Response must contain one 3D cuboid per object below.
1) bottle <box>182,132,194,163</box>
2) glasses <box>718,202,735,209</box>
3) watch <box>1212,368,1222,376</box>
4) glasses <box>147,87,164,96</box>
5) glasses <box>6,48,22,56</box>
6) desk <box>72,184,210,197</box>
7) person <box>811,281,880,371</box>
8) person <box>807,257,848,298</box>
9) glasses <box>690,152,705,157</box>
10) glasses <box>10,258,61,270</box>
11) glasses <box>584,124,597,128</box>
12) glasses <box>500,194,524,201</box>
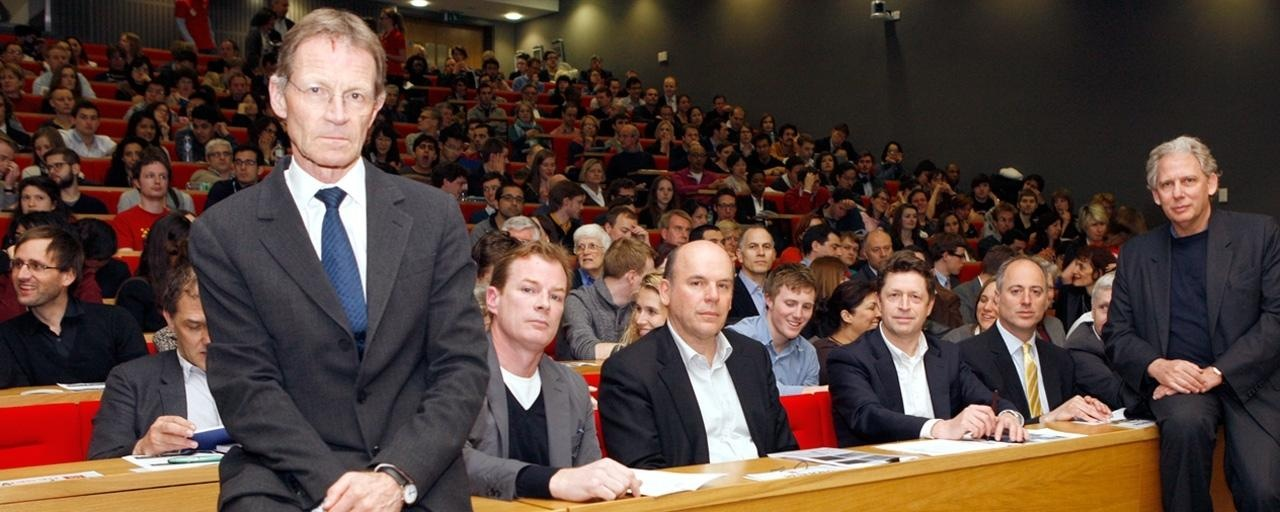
[{"bbox_3d":[-7.892,-1.921,13.680,0.225,0.536,0.197,-5,-4,37],"label":"bottle"},{"bbox_3d":[1.478,-0.884,13.778,0.287,0.074,0.083,0,-4,-17],"label":"glasses"},{"bbox_3d":[6.036,1.227,8.240,0.095,0.069,0.022,-13,4,-5],"label":"watch"},{"bbox_3d":[-9.355,-3.189,15.111,0.231,0.095,0.245,1,-1,0],"label":"glasses"},{"bbox_3d":[-12.514,-4.089,15.584,0.230,0.056,0.228,7,-24,-41],"label":"glasses"},{"bbox_3d":[-7.596,-0.987,11.800,1.732,0.163,0.336,2,-9,-9],"label":"desk"},{"bbox_3d":[2.404,0.839,9.179,0.817,0.842,1.231,-1,1,7],"label":"person"},{"bbox_3d":[2.438,0.290,10.839,0.726,0.642,0.577,-3,0,9],"label":"person"},{"bbox_3d":[1.125,-2.036,15.669,0.254,0.081,0.099,0,-4,-24],"label":"glasses"},{"bbox_3d":[-6.655,0.102,8.585,0.544,0.153,0.089,-2,-3,7],"label":"glasses"},{"bbox_3d":[-1.103,-2.744,16.601,0.144,0.094,0.079,-14,-29,-34],"label":"glasses"},{"bbox_3d":[-1.974,-0.895,11.905,0.291,0.094,0.100,0,-4,-24],"label":"glasses"}]
